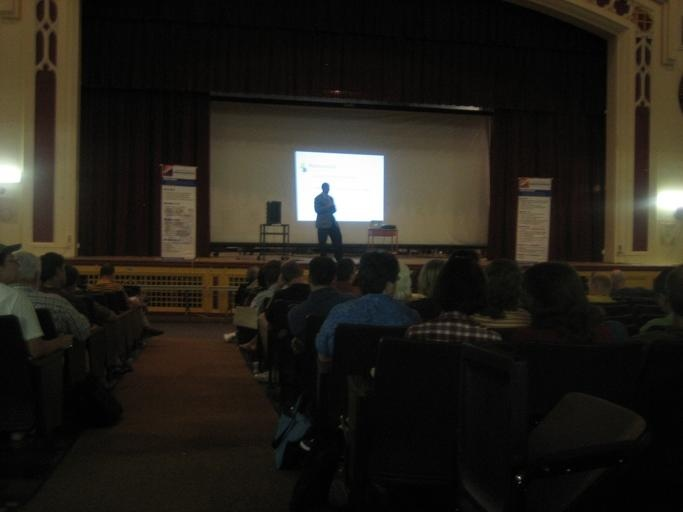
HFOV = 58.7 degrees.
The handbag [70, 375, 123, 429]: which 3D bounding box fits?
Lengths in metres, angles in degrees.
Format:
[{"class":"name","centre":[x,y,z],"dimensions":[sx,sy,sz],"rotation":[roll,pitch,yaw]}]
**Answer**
[{"class":"handbag","centre":[-1.790,1.088,4.405],"dimensions":[0.247,0.348,0.093],"rotation":[-8,-21,-34]}]

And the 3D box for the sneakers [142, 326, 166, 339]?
[{"class":"sneakers","centre":[-2.199,0.902,7.154],"dimensions":[0.258,0.116,0.098],"rotation":[-1,1,-7]}]

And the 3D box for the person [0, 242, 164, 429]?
[{"class":"person","centre":[-2.129,0.463,4.879],"dimensions":[0.907,1.197,1.760],"rotation":[2,14,1]}]

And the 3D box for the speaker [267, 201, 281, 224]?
[{"class":"speaker","centre":[-1.167,-0.735,10.487],"dimensions":[0.233,0.381,0.158],"rotation":[0,3,7]}]

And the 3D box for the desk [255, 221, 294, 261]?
[{"class":"desk","centre":[-1.279,-0.285,11.618],"dimensions":[0.689,0.904,0.613],"rotation":[2,-2,-10]}]

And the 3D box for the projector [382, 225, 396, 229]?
[{"class":"projector","centre":[0.874,-0.522,11.114],"dimensions":[0.227,0.059,0.200],"rotation":[-1,4,-13]}]

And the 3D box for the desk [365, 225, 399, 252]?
[{"class":"desk","centre":[0.822,-0.352,11.925],"dimensions":[0.619,0.650,0.490],"rotation":[0,0,2]}]
